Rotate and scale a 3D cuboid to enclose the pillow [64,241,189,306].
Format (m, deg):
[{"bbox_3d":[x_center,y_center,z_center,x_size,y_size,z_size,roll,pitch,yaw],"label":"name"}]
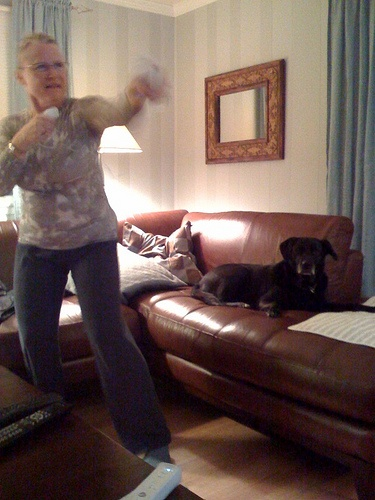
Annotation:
[{"bbox_3d":[-0.271,0.150,2.394,0.414,0.149,0.468,-12,20,-39],"label":"pillow"}]

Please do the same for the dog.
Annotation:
[{"bbox_3d":[0.395,0.138,2.024,0.374,0.280,0.639,3,-5,-32],"label":"dog"}]

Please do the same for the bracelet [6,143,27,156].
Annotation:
[{"bbox_3d":[-0.388,-0.224,0.913,0.030,0.010,0.031,30,-17,23],"label":"bracelet"}]

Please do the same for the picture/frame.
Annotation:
[{"bbox_3d":[0.437,-1.092,3.280,0.740,0.737,0.043,8,14,43],"label":"picture/frame"}]

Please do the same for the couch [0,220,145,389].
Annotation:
[{"bbox_3d":[-0.762,0.245,2.183,0.770,0.706,0.815,10,13,42],"label":"couch"}]
